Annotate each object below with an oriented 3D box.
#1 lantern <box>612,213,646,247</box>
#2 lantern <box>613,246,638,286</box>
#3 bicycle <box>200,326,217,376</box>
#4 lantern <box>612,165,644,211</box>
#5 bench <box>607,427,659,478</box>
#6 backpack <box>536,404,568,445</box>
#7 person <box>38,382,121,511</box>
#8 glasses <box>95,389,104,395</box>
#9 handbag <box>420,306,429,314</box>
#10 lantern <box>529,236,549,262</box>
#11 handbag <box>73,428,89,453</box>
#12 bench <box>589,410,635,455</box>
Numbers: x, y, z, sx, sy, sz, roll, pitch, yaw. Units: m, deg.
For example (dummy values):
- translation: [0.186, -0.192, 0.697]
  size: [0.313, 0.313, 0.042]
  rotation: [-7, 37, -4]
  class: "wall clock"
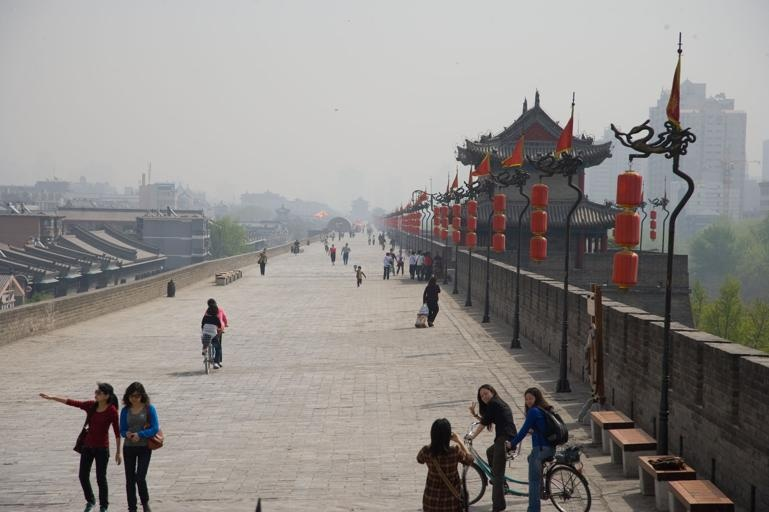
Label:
- translation: [4.495, -0.498, 16.301]
  size: [0.452, 0.653, 0.439]
  rotation: [0, 2, -31]
  class: "lantern"
- translation: [4.512, 0.223, 16.562]
  size: [0.597, 0.645, 0.613]
  rotation: [6, 2, 31]
  class: "lantern"
- translation: [-4.087, 2.163, 20.775]
  size: [0.309, 1.089, 0.663]
  rotation: [-1, 6, -10]
  class: "bicycle"
- translation: [4.565, -1.264, 16.216]
  size: [0.648, 0.918, 0.666]
  rotation: [3, 4, 40]
  class: "lantern"
- translation: [4.219, 3.444, 15.243]
  size: [0.378, 0.371, 0.759]
  rotation: [24, -2, 4]
  class: "bench"
- translation: [2.636, 2.689, 13.863]
  size: [0.343, 0.645, 0.441]
  rotation: [-12, -20, 21]
  class: "backpack"
- translation: [-4.606, 2.960, 13.985]
  size: [0.823, 2.028, 1.201]
  rotation: [-3, 7, -19]
  class: "person"
- translation: [-4.397, 2.118, 13.666]
  size: [0.160, 0.106, 0.061]
  rotation: [2, 7, 22]
  class: "glasses"
- translation: [1.212, 1.629, 27.203]
  size: [0.284, 0.260, 0.395]
  rotation: [1, 6, 8]
  class: "handbag"
- translation: [4.052, -0.227, 23.281]
  size: [0.387, 0.694, 1.041]
  rotation: [0, 6, 7]
  class: "lantern"
- translation: [-4.719, 2.943, 13.768]
  size: [0.161, 0.500, 0.351]
  rotation: [12, -2, -13]
  class: "handbag"
- translation: [4.078, 3.224, 16.136]
  size: [0.409, 0.468, 0.772]
  rotation: [13, -15, 34]
  class: "bench"
